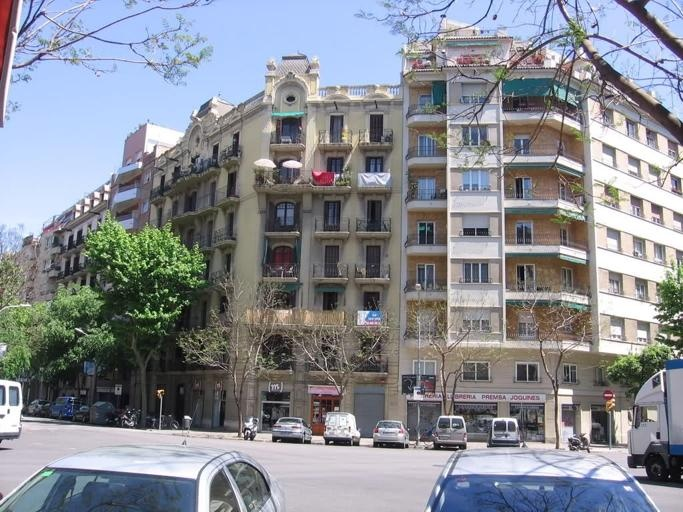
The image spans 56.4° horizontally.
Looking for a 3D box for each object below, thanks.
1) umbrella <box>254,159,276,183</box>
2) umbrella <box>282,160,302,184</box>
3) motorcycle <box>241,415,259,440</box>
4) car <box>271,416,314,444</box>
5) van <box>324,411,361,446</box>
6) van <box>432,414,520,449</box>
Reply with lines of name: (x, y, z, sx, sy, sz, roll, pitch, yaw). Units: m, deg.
umbrella: (-5.524, -6.262, 45.577, 1.663, 1.447, 1.700, 2, 3, -6)
umbrella: (-3.388, -6.282, 45.708, 1.626, 1.770, 1.576, 5, 2, -16)
motorcycle: (-5.392, 10.049, 37.042, 1.122, 0.790, 2.092, 5, -21, -6)
car: (-2.840, 9.384, 34.423, 1.849, 1.295, 1.681, 1, -15, 0)
van: (0.080, 9.552, 35.191, 1.776, 1.719, 1.767, -1, -15, 10)
van: (7.086, 9.393, 33.749, 4.248, 1.661, 2.950, -1, -15, 7)
